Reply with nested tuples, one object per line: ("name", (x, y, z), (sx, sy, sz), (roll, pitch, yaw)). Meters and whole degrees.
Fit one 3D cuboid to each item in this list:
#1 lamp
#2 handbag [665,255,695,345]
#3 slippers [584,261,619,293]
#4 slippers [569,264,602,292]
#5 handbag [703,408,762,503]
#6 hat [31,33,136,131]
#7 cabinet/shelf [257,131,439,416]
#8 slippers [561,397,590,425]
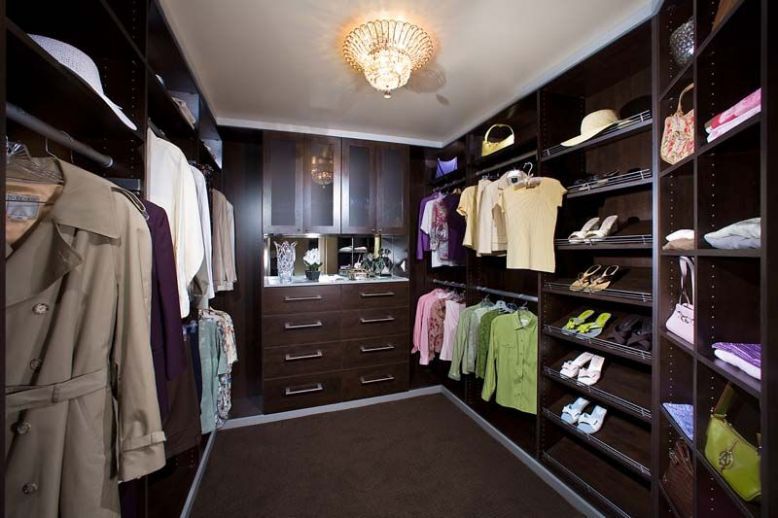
("lamp", (-0.009, -1.224, 3.120), (0.402, 0.294, 0.429), (-2, -6, 4))
("handbag", (1.560, 0.211, 2.614), (0.123, 0.422, 0.372), (6, 14, 29))
("slippers", (1.385, 0.105, 3.188), (0.119, 0.062, 0.364), (-11, 18, 42))
("slippers", (1.330, 0.114, 3.320), (0.330, 0.092, 0.115), (-38, 15, -36))
("handbag", (1.600, 0.928, 2.249), (0.109, 0.288, 0.314), (-3, 13, -9))
("hat", (-1.485, -0.854, 2.403), (0.292, 0.425, 0.469), (8, 15, 34))
("cabinet/shelf", (-0.454, 0.068, 4.395), (1.570, 2.336, 0.685), (-5, 13, -19))
("slippers", (1.230, 1.020, 3.281), (0.095, 0.071, 0.248), (-24, 2, 41))
